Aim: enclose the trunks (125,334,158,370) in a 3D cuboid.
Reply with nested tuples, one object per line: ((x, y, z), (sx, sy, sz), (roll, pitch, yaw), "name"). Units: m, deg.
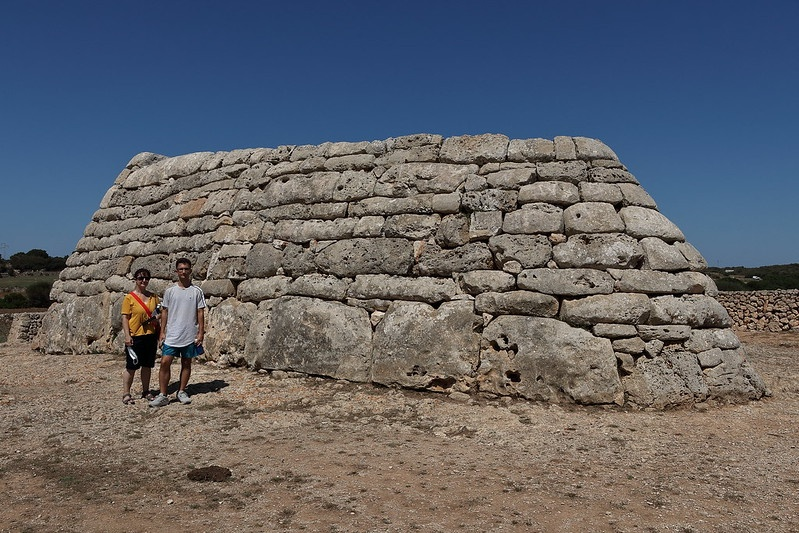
((-3.315, 1.102, 6.882), (0.421, 0.478, 0.261), (-10, 17, -34), "trunks")

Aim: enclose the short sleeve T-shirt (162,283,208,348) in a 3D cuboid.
((-2.812, 0.623, 6.938), (0.524, 0.760, 0.363), (-6, 16, -22), "short sleeve T-shirt")

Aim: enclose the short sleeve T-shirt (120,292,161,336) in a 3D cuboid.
((-3.329, 0.601, 6.877), (0.436, 0.582, 0.236), (-10, 18, -34), "short sleeve T-shirt")

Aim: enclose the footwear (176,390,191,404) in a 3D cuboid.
((-2.801, 1.696, 6.937), (0.176, 0.138, 0.253), (-6, 14, -23), "footwear")

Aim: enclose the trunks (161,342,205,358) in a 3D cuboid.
((-2.796, 1.050, 6.885), (0.361, 0.128, 0.259), (-1, -6, 19), "trunks")

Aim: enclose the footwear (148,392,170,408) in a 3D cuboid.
((-3.081, 1.693, 6.827), (0.232, 0.142, 0.281), (-5, 14, -20), "footwear")
